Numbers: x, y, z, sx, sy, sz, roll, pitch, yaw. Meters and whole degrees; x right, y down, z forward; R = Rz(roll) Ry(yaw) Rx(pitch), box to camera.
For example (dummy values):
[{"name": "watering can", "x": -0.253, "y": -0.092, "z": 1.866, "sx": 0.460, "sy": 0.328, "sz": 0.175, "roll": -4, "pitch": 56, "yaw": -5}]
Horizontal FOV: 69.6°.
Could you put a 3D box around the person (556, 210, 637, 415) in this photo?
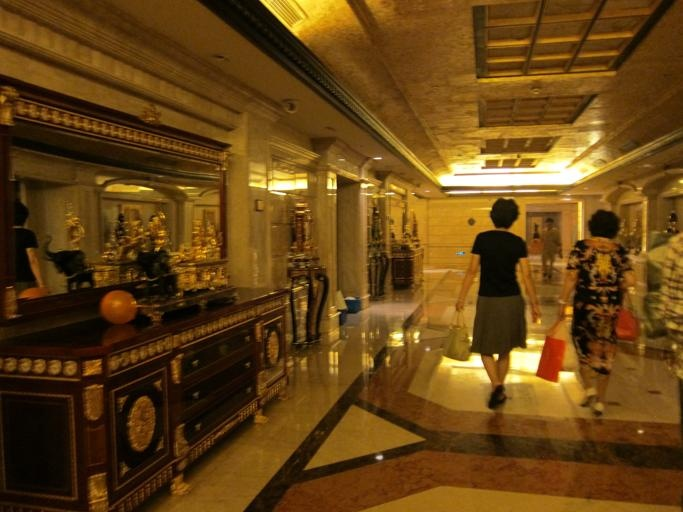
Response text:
[{"name": "person", "x": 2.292, "y": 0.514, "z": 4.475, "sx": 0.559, "sy": 1.867, "sz": 0.425, "roll": 2, "pitch": 11, "yaw": 24}]

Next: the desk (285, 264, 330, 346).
[{"name": "desk", "x": -0.460, "y": 0.632, "z": 7.083, "sx": 0.494, "sy": 1.230, "sz": 0.945, "roll": -1, "pitch": 9, "yaw": 5}]

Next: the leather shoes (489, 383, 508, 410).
[{"name": "leather shoes", "x": 1.495, "y": 1.349, "z": 4.724, "sx": 0.140, "sy": 0.257, "sz": 0.120, "roll": 16, "pitch": -9, "yaw": -7}]

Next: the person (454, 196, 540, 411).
[{"name": "person", "x": 1.477, "y": 0.442, "z": 4.647, "sx": 0.732, "sy": 1.979, "sz": 0.538, "roll": 1, "pitch": 10, "yaw": 18}]

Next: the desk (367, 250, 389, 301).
[{"name": "desk", "x": 0.842, "y": 0.404, "z": 11.421, "sx": 0.449, "sy": 1.060, "sz": 0.871, "roll": -1, "pitch": 9, "yaw": 5}]

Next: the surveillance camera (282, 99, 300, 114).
[{"name": "surveillance camera", "x": -0.590, "y": -1.727, "z": 5.598, "sx": 0.137, "sy": 0.090, "sz": 0.025, "roll": 9, "pitch": 29, "yaw": -2}]
